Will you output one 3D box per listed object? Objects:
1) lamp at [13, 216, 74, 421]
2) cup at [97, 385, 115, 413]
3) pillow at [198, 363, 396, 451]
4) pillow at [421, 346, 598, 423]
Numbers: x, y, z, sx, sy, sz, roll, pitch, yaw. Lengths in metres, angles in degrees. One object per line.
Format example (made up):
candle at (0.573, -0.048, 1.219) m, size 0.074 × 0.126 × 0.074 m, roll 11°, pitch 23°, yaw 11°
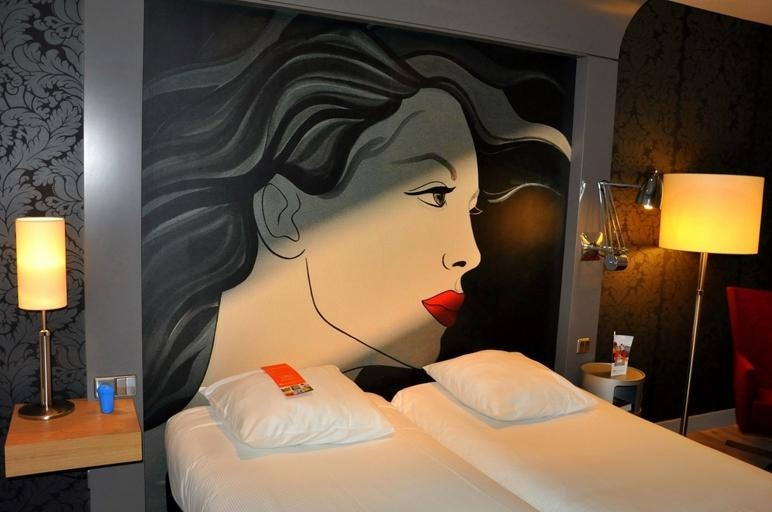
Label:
lamp at (-1.904, 0.339, 3.211) m, size 0.254 × 1.163 × 0.312 m, roll -1°, pitch 0°, yaw -33°
cup at (-1.602, 0.812, 3.299) m, size 0.088 × 0.179 × 0.159 m, roll -1°, pitch 0°, yaw -25°
pillow at (-0.485, 0.883, 3.257) m, size 0.571 × 0.168 × 0.606 m, roll -1°, pitch 13°, yaw -23°
pillow at (0.844, 0.841, 3.698) m, size 0.531 × 0.165 × 0.545 m, roll 0°, pitch 10°, yaw -30°
